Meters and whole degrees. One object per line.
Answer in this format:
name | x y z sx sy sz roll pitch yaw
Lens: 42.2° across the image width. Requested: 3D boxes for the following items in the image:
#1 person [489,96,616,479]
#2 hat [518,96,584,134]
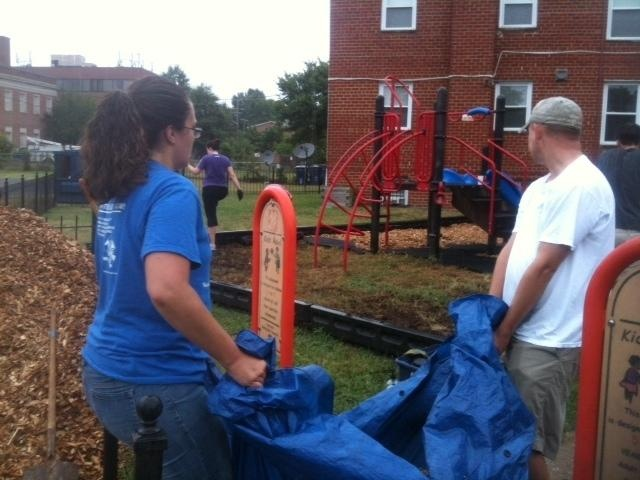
person | 1.372 0.268 4.953 0.679 2.264 0.577 4 6 21
hat | 1.421 -0.746 5.001 0.205 0.158 0.284 -3 5 -34
